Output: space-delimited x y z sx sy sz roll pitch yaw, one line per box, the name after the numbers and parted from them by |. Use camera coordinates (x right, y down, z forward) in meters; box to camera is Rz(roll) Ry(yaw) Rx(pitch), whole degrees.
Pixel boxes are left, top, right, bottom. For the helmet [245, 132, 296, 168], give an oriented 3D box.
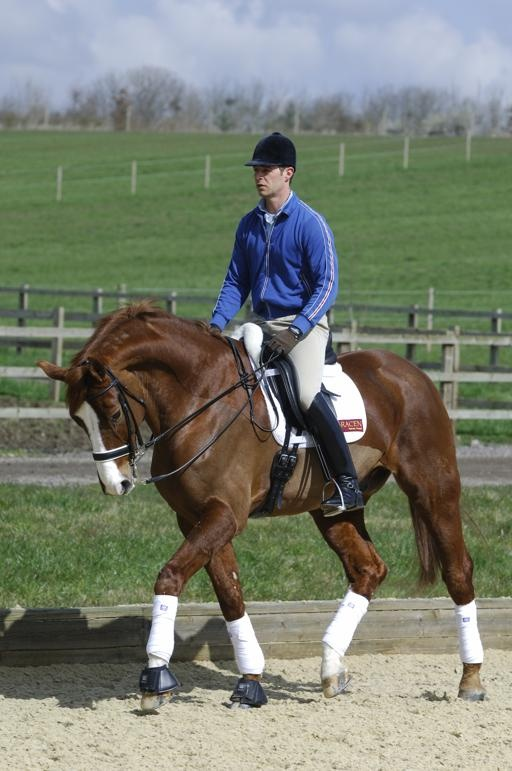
0.087 -1.215 6.377 0.239 0.146 0.173 -2 8 -39 | helmet

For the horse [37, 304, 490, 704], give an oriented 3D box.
0.093 0.644 6.346 2.541 1.985 0.639 5 -10 -30 | horse

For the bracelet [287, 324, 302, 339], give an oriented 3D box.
0.200 -0.270 6.159 0.057 0.064 0.051 -38 29 -2 | bracelet
